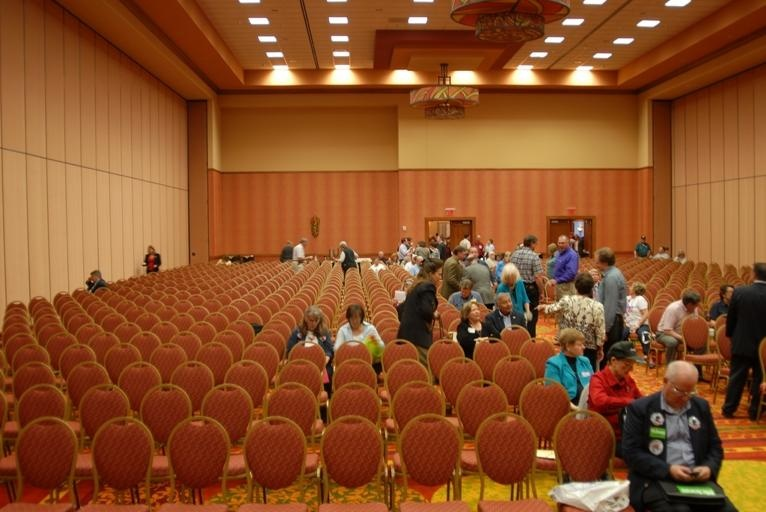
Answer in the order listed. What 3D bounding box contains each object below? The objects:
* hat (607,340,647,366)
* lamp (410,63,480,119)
[{"bbox_3d":[2.773,1.081,5.969,0.326,0.205,0.250,6,4,17],"label":"hat"},{"bbox_3d":[2.485,-6.575,21.112,2.494,2.014,2.640,2,7,27],"label":"lamp"}]
